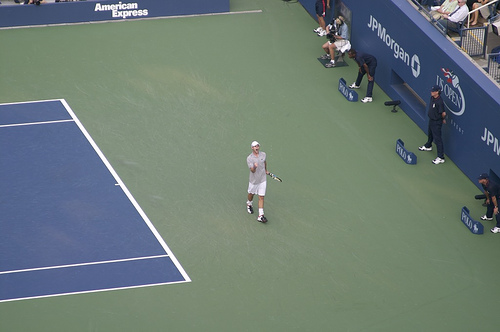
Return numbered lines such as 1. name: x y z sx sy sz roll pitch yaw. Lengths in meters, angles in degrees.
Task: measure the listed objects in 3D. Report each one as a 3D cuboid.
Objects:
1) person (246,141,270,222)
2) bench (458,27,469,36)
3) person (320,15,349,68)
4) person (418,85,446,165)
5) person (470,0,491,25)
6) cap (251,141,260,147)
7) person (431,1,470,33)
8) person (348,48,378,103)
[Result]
1. person: 0.219 0.435 21.065 0.788 2.613 0.895 -6 32 0
2. bench: 7.222 -4.584 22.895 0.232 0.208 0.423 -6 34 0
3. person: 3.507 -5.063 27.748 1.171 2.234 1.084 -9 40 -10
4. person: 6.321 -1.408 23.395 0.942 3.085 1.238 -8 32 -2
5. person: 8.392 -5.677 24.747 0.669 0.835 0.676 -2 33 6
6. cap: 0.177 -0.688 21.092 0.233 0.138 0.373 -4 -8 -6
7. person: 7.140 -5.262 24.039 0.882 1.342 0.606 18 38 -4
8. person: 4.384 -3.521 25.825 1.138 2.113 1.221 -8 7 5
